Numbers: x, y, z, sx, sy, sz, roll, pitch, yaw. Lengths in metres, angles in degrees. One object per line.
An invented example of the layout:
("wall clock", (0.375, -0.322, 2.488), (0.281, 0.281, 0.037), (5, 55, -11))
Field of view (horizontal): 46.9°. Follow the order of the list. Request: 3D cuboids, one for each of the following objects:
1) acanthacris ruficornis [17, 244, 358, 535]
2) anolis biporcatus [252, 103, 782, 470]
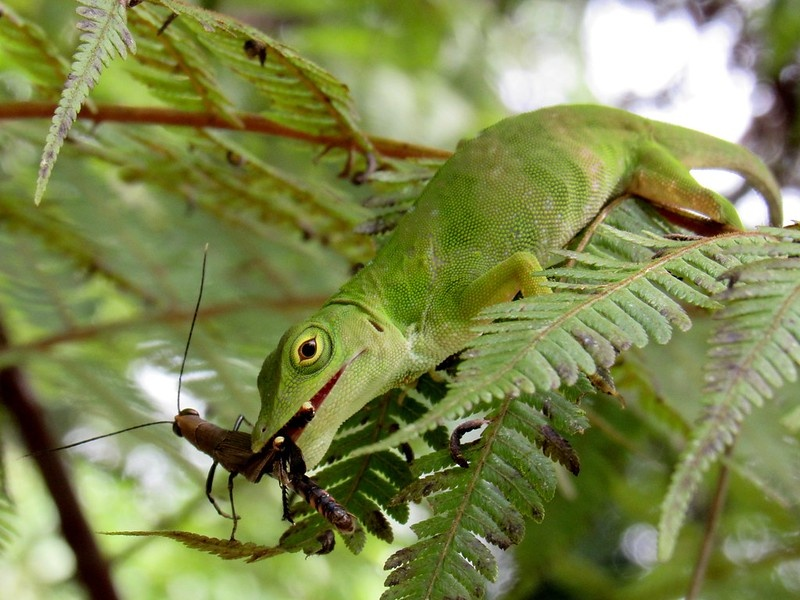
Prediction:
("acanthacris ruficornis", (-0.650, 0.650, 3.449), (1.112, 1.136, 0.638), (32, -31, 21))
("anolis biporcatus", (0.357, -0.155, 3.398), (1.504, 1.787, 0.563), (5, -39, 25))
